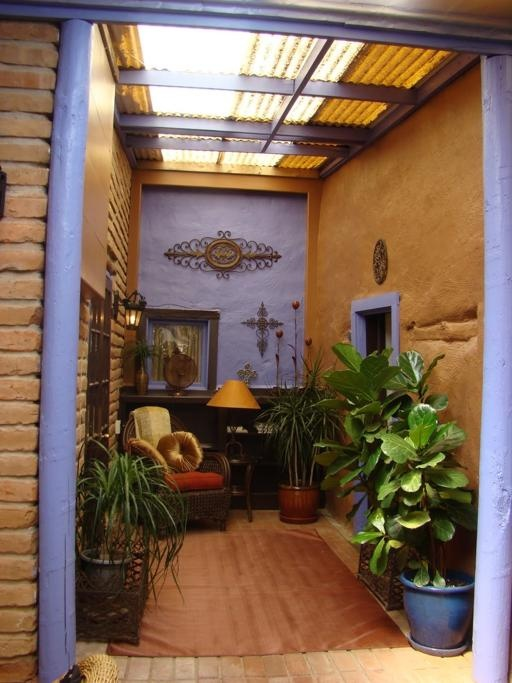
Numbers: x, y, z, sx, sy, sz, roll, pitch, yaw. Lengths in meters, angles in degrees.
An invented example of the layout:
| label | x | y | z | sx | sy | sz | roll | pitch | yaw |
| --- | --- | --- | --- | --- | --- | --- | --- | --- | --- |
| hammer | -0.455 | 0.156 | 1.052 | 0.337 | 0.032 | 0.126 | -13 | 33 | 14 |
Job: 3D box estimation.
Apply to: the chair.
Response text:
| label | x | y | z | sx | sy | sz | roll | pitch | yaw |
| --- | --- | --- | --- | --- | --- | --- | --- | --- | --- |
| chair | -0.761 | 1.096 | 4.532 | 0.731 | 1.024 | 0.959 | 6 | -10 | -36 |

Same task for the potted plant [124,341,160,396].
| label | x | y | z | sx | sy | sz | roll | pitch | yaw |
| --- | --- | --- | --- | --- | --- | --- | --- | --- | --- |
| potted plant | -1.206 | 0.261 | 5.342 | 0.478 | 0.624 | 0.458 | 4 | -7 | -38 |

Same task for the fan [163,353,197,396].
| label | x | y | z | sx | sy | sz | roll | pitch | yaw |
| --- | --- | --- | --- | --- | --- | --- | --- | --- | --- |
| fan | -0.794 | 0.344 | 5.273 | 0.399 | 0.478 | 0.179 | 3 | -10 | -24 |

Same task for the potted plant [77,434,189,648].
| label | x | y | z | sx | sy | sz | roll | pitch | yaw |
| --- | --- | --- | --- | --- | --- | --- | --- | --- | --- |
| potted plant | -0.689 | 0.986 | 2.637 | 0.651 | 0.764 | 0.846 | 2 | 4 | -14 |

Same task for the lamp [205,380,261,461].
| label | x | y | z | sx | sy | sz | roll | pitch | yaw |
| --- | --- | --- | --- | --- | --- | --- | --- | --- | --- |
| lamp | -0.078 | 0.681 | 4.927 | 0.651 | 0.972 | 0.690 | 0 | 1 | 4 |

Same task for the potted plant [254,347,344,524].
| label | x | y | z | sx | sy | sz | roll | pitch | yaw |
| --- | --- | --- | --- | --- | --- | --- | --- | --- | --- |
| potted plant | 0.429 | 0.964 | 4.780 | 0.836 | 1.409 | 0.708 | 2 | -13 | 11 |

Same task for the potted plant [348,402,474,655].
| label | x | y | z | sx | sy | sz | roll | pitch | yaw |
| --- | --- | --- | --- | --- | --- | --- | --- | --- | --- |
| potted plant | 0.789 | 0.879 | 2.480 | 0.521 | 1.146 | 0.662 | -1 | -7 | 26 |
